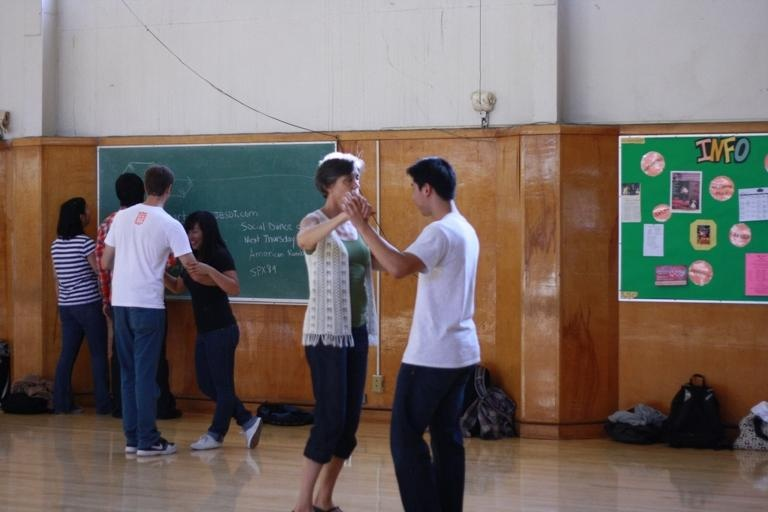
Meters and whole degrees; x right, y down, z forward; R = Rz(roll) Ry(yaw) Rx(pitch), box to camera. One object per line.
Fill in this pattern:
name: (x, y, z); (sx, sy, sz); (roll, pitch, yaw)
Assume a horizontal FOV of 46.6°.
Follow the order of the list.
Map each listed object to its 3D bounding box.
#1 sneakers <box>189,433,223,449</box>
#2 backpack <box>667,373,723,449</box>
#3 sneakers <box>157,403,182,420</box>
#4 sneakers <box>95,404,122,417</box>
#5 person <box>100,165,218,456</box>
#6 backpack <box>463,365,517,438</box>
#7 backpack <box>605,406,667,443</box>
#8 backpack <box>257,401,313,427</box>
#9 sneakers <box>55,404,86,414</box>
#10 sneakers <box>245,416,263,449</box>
sneakers: (-1.613, 1.690, 8.197); (0.341, 0.157, 0.122); (3, -8, -14)
backpack: (2.895, 1.452, 8.293); (0.528, 0.811, 0.350); (0, -10, 7)
sneakers: (-2.147, 1.560, 8.925); (0.253, 0.204, 0.096); (1, -2, -17)
sneakers: (-2.778, 1.547, 8.985); (0.329, 0.149, 0.119); (-2, -13, 10)
person: (-2.110, 0.651, 7.931); (0.778, 2.233, 0.321); (1, 4, -6)
backpack: (0.994, 1.413, 8.644); (0.470, 0.670, 0.633); (-5, 4, -31)
backpack: (2.355, 1.573, 8.355); (0.360, 0.150, 0.389); (-2, 4, 4)
backpack: (-0.973, 1.551, 8.769); (0.511, 0.209, 0.316); (12, -5, 7)
sneakers: (-3.160, 1.550, 9.004); (0.280, 0.133, 0.098); (-2, 0, -32)
sneakers: (-1.202, 1.591, 8.221); (0.136, 0.337, 0.108); (7, 11, 8)
